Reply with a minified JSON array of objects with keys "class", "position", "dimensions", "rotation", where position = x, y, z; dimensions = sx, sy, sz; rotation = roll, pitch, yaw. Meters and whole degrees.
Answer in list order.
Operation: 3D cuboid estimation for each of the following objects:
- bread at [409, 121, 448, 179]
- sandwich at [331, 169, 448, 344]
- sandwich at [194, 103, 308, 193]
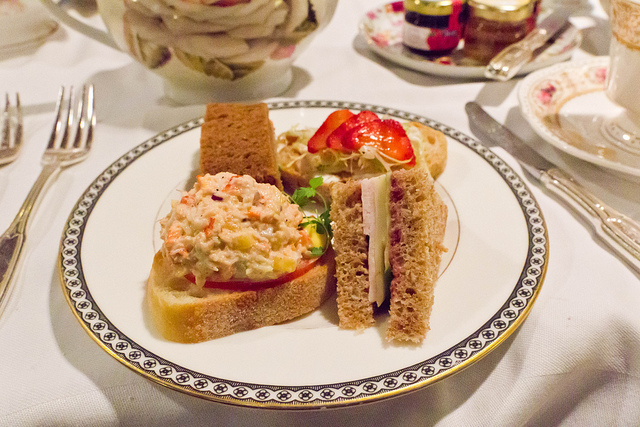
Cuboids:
[{"class":"bread","position":[0.618,-0.345,3.252],"dimensions":[0.276,0.084,0.282],"rotation":[-35,48,-23]},{"class":"sandwich","position":[0.293,0.142,2.687],"dimensions":[0.515,0.571,0.691],"rotation":[6,108,20]},{"class":"sandwich","position":[-0.369,-0.340,3.202],"dimensions":[0.557,0.131,0.532],"rotation":[3,50,-6]}]
